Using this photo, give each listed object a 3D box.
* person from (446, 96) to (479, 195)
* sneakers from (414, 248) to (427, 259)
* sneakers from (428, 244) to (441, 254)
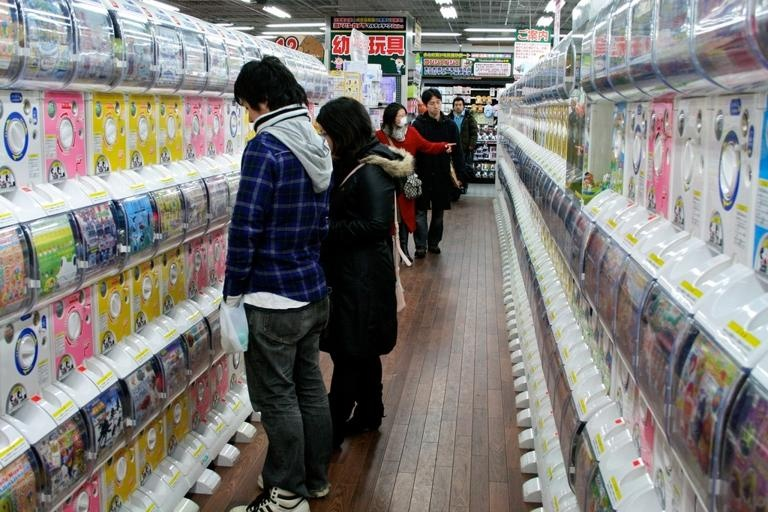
[{"bbox_3d":[1.790,-2.549,11.848,0.787,2.327,0.663,-8,31,0],"label":"person"},{"bbox_3d":[0.557,-0.052,7.754,0.109,0.142,0.343,-1,-6,6],"label":"sneakers"},{"bbox_3d":[0.815,-0.112,8.063,0.138,0.156,0.143,-6,-16,4],"label":"sneakers"}]
